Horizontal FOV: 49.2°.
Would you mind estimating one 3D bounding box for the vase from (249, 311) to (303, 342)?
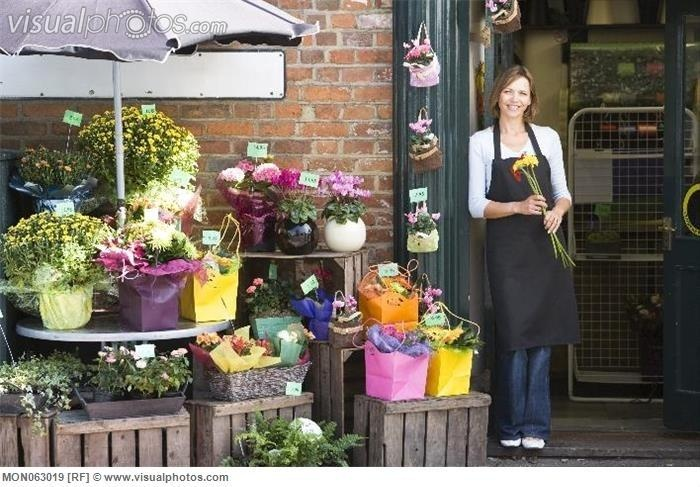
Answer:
[{"bbox_3d":[-0.474,0.522,4.810,0.234,0.130,0.163,-1,-4,-4],"label":"vase"}]

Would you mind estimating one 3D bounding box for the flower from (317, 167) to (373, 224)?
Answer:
[{"bbox_3d":[0.004,-0.311,4.923,0.333,0.385,0.328,3,1,15],"label":"flower"}]

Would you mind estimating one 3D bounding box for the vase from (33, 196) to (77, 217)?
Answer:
[{"bbox_3d":[-1.787,-0.231,4.656,0.196,0.072,0.145,-3,-2,-3],"label":"vase"}]

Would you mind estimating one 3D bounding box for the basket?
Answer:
[{"bbox_3d":[-0.557,0.809,4.515,0.396,0.129,0.272,-3,1,-29],"label":"basket"}]

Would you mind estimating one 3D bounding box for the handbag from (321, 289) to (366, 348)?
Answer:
[{"bbox_3d":[-0.022,0.454,4.626,0.299,0.422,0.267,1,-2,-10],"label":"handbag"}]

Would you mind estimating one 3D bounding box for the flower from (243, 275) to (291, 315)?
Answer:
[{"bbox_3d":[-0.518,0.349,4.898,0.279,0.215,0.144,-3,3,-8],"label":"flower"}]

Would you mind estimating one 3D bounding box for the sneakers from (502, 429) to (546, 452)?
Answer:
[{"bbox_3d":[1.112,1.255,4.900,0.272,0.104,0.107,2,1,7],"label":"sneakers"}]

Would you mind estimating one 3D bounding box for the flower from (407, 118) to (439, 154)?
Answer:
[{"bbox_3d":[0.457,-0.686,4.903,0.228,0.317,0.220,-2,13,-5],"label":"flower"}]

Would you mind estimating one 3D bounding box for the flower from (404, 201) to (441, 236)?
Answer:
[{"bbox_3d":[0.454,-0.178,4.982,0.219,0.237,0.194,-11,14,-28],"label":"flower"}]

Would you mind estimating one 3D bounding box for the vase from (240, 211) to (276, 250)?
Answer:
[{"bbox_3d":[-0.591,-0.073,4.928,0.229,0.250,0.231,0,2,3],"label":"vase"}]

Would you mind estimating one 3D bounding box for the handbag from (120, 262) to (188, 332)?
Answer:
[{"bbox_3d":[-1.088,0.308,4.282,0.415,0.314,0.346,0,-1,-24],"label":"handbag"}]

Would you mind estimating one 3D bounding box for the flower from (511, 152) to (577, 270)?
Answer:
[{"bbox_3d":[1.237,-0.200,4.837,0.473,0.735,0.196,-4,3,-29],"label":"flower"}]

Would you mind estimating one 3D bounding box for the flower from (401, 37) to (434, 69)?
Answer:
[{"bbox_3d":[0.437,-1.192,4.882,0.231,0.131,0.223,1,5,0],"label":"flower"}]

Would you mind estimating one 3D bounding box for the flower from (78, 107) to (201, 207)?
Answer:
[{"bbox_3d":[-1.332,-0.551,4.764,0.574,0.442,0.633,3,-1,-4],"label":"flower"}]

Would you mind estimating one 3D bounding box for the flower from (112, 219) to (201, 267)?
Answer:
[{"bbox_3d":[-1.056,-0.011,4.285,0.296,0.169,0.292,10,9,-34],"label":"flower"}]

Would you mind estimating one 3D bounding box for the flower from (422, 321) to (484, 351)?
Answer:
[{"bbox_3d":[0.568,0.548,4.581,0.280,0.127,0.271,2,3,-40],"label":"flower"}]

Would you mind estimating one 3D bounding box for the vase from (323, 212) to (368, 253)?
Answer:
[{"bbox_3d":[-0.020,-0.057,4.892,0.269,0.236,0.280,2,5,14],"label":"vase"}]

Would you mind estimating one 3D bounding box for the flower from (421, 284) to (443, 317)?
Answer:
[{"bbox_3d":[0.524,0.369,4.886,0.138,0.236,0.143,-3,11,-24],"label":"flower"}]

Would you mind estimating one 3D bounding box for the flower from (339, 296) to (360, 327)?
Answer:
[{"bbox_3d":[-0.004,0.405,4.630,0.117,0.070,0.161,1,6,1],"label":"flower"}]

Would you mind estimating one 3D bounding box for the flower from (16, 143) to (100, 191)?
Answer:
[{"bbox_3d":[-1.860,-0.497,4.783,0.300,0.179,0.310,-3,10,-43],"label":"flower"}]
